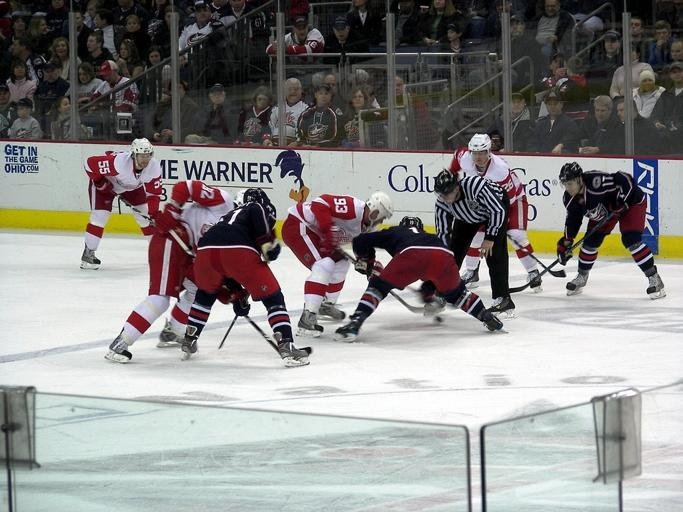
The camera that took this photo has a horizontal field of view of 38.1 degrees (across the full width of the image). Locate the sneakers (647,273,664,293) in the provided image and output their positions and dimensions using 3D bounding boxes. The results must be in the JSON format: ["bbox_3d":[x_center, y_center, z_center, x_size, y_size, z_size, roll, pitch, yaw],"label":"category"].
[{"bbox_3d":[2.467,0.219,7.774,0.195,0.179,0.101,-4,4,-31],"label":"sneakers"}]

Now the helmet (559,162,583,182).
[{"bbox_3d":[1.741,-0.639,7.635,0.158,0.160,0.200,-7,7,40],"label":"helmet"}]

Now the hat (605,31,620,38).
[{"bbox_3d":[2.443,-1.997,8.917,0.109,0.041,0.141,0,1,18],"label":"hat"}]

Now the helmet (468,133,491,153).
[{"bbox_3d":[1.096,-0.894,7.930,0.156,0.151,0.177,0,6,16],"label":"helmet"}]

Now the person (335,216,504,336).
[{"bbox_3d":[0.480,0.169,6.573,1.052,0.748,0.389,-2,3,6],"label":"person"}]

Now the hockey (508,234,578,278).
[{"bbox_3d":[1.727,0.035,8.166,0.400,0.107,0.382,19,11,-28],"label":"hockey"}]

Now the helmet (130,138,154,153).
[{"bbox_3d":[-1.802,-0.983,8.854,0.167,0.145,0.313,-3,3,-15],"label":"helmet"}]

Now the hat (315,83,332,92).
[{"bbox_3d":[-0.194,-1.728,10.145,0.176,0.085,0.044,0,4,29],"label":"hat"}]

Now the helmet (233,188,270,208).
[{"bbox_3d":[-0.546,-0.361,6.023,0.225,0.095,0.156,4,1,-8],"label":"helmet"}]

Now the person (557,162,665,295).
[{"bbox_3d":[2.109,-0.196,7.840,0.854,1.058,0.558,-2,3,-3],"label":"person"}]

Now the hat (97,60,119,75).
[{"bbox_3d":[-2.665,-2.161,11.316,0.215,0.106,0.134,-21,27,-26],"label":"hat"}]

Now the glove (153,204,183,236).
[{"bbox_3d":[-1.081,-0.235,6.157,0.165,0.186,0.196,-3,3,-9],"label":"glove"}]

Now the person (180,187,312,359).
[{"bbox_3d":[-0.598,0.135,5.960,0.771,1.065,0.395,-3,3,-7],"label":"person"}]

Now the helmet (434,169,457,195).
[{"bbox_3d":[0.736,-0.541,7.046,0.169,0.177,0.177,10,-8,0],"label":"helmet"}]

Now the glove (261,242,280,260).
[{"bbox_3d":[-0.414,-0.031,5.894,0.106,0.109,0.125,0,-4,-1],"label":"glove"}]

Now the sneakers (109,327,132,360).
[{"bbox_3d":[-1.388,0.554,6.121,0.158,0.209,0.202,-3,3,-13],"label":"sneakers"}]
